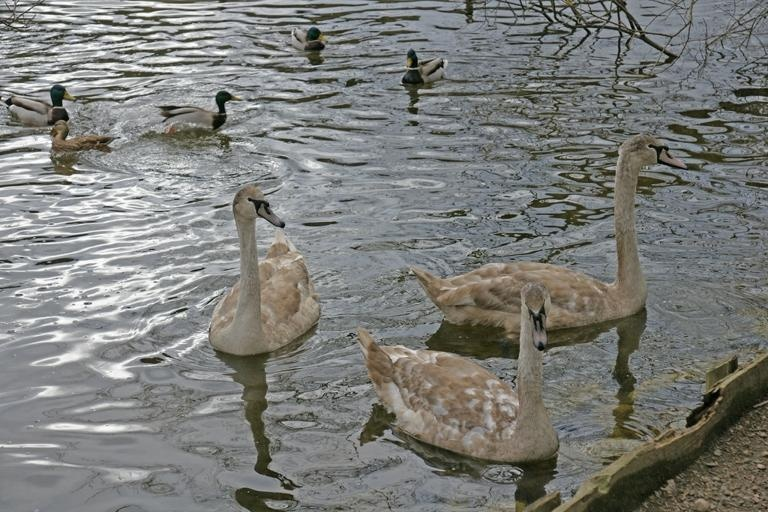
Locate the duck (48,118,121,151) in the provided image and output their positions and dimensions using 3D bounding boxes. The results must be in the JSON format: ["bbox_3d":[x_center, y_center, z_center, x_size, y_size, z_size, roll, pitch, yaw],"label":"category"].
[{"bbox_3d":[-7.677,-2.971,21.012,1.924,0.663,0.838,3,5,5],"label":"duck"}]

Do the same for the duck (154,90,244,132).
[{"bbox_3d":[-4.874,-3.884,22.281,2.167,1.039,1.245,-9,23,-29],"label":"duck"}]
